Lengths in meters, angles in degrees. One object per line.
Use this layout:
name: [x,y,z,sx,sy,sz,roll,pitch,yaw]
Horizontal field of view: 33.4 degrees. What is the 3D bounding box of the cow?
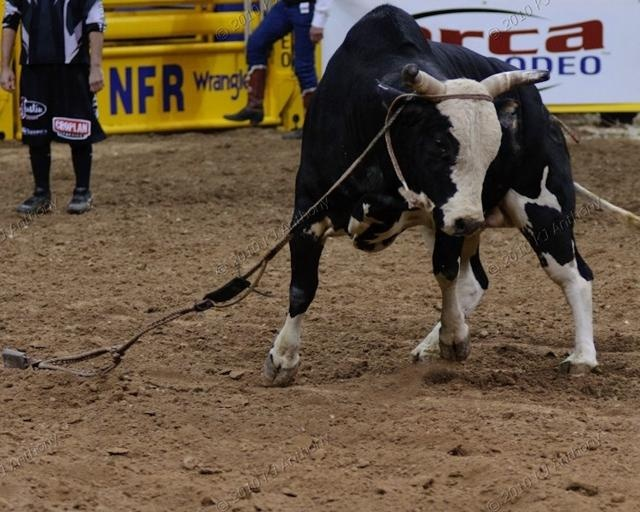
cow: [0.725,-0.321,6.390,1.508,2.323,1.475,-9,16,-43]
